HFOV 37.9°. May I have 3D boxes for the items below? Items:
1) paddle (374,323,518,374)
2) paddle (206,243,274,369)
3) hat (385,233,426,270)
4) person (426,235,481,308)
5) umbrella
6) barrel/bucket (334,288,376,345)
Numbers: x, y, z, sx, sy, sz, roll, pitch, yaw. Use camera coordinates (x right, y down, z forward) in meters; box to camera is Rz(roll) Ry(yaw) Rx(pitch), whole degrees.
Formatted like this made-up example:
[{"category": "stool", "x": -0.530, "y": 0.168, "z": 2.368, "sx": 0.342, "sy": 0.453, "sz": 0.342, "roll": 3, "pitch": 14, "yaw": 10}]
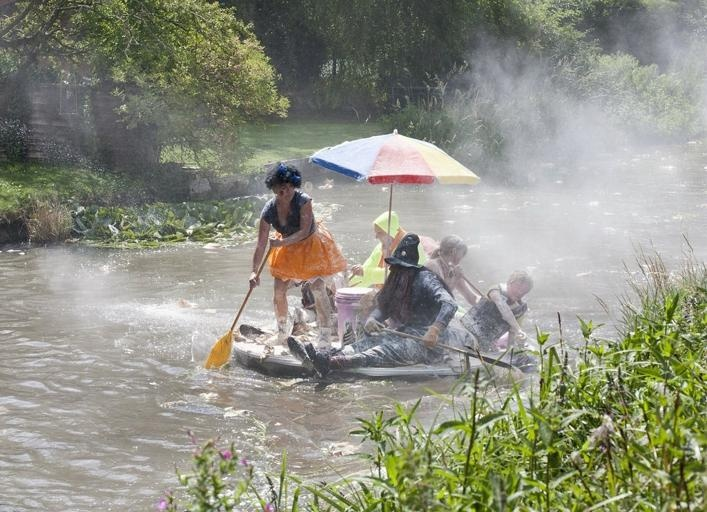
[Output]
[{"category": "paddle", "x": 1.202, "y": 1.322, "z": 14.467, "sx": 2.199, "sy": 0.248, "sz": 0.111, "roll": 18, "pitch": 20, "yaw": 30}, {"category": "paddle", "x": -1.806, "y": 0.986, "z": 15.506, "sx": 0.336, "sy": 0.112, "sz": 2.069, "roll": 4, "pitch": 37, "yaw": 13}, {"category": "hat", "x": 0.747, "y": -0.075, "z": 14.672, "sx": 0.621, "sy": 0.478, "sz": 0.638, "roll": 12, "pitch": 4, "yaw": -11}, {"category": "person", "x": 1.449, "y": 0.174, "z": 15.226, "sx": 0.420, "sy": 1.211, "sz": 0.574, "roll": -38, "pitch": 20, "yaw": -32}, {"category": "umbrella", "x": 0.550, "y": -0.780, "z": 16.069, "sx": 2.454, "sy": 2.396, "sz": 2.595, "roll": 1, "pitch": 17, "yaw": -19}, {"category": "barrel/bucket", "x": -0.001, "y": 0.889, "z": 15.378, "sx": 0.661, "sy": 0.766, "sz": 0.670, "roll": 0, "pitch": 8, "yaw": 0}]
